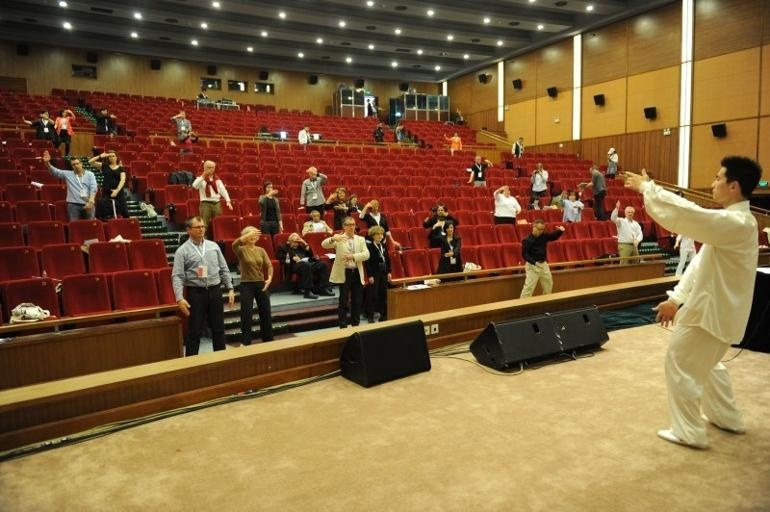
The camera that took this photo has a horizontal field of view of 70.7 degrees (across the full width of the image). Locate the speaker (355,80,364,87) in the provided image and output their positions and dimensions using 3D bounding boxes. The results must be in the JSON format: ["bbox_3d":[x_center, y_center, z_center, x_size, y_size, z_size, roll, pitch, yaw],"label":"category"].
[{"bbox_3d":[-1.029,-7.140,22.544,0.336,0.310,0.343,2,4,11],"label":"speaker"}]

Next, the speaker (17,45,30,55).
[{"bbox_3d":[-11.597,-6.578,17.254,0.367,0.319,0.189,-5,11,-44],"label":"speaker"}]

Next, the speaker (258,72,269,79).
[{"bbox_3d":[-4.757,-7.026,21.038,0.322,0.275,0.157,-2,7,-33],"label":"speaker"}]

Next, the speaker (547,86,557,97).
[{"bbox_3d":[5.629,-5.475,18.157,0.341,0.304,0.339,-1,5,42],"label":"speaker"}]

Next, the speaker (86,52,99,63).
[{"bbox_3d":[-9.915,-6.690,18.241,0.414,0.350,0.208,-3,6,-43],"label":"speaker"}]

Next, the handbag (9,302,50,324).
[{"bbox_3d":[-3.727,0.611,5.659,0.343,0.115,0.261,-4,-1,28],"label":"handbag"}]

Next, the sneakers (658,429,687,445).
[{"bbox_3d":[2.336,1.460,4.394,0.075,0.079,0.198,1,10,-39],"label":"sneakers"}]

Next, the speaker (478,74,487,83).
[{"bbox_3d":[3.855,-6.994,21.340,0.184,0.425,0.436,-9,9,-32],"label":"speaker"}]

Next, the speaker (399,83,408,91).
[{"bbox_3d":[0.809,-7.342,23.448,0.405,0.350,0.203,1,13,-5],"label":"speaker"}]

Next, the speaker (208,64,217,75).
[{"bbox_3d":[-6.463,-6.945,20.155,0.376,0.322,0.088,-4,13,-32],"label":"speaker"}]

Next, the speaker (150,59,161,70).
[{"bbox_3d":[-8.177,-6.819,19.290,0.392,0.380,0.194,-8,9,-28],"label":"speaker"}]

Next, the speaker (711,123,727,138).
[{"bbox_3d":[8.449,-3.154,13.592,0.197,0.370,0.416,-14,9,-41],"label":"speaker"}]

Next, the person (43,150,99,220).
[{"bbox_3d":[-4.498,-0.957,7.845,0.547,0.866,0.766,-8,9,-28],"label":"person"}]

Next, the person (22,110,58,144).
[{"bbox_3d":[-7.107,-2.634,11.233,0.436,0.679,0.949,-9,9,-31],"label":"person"}]
